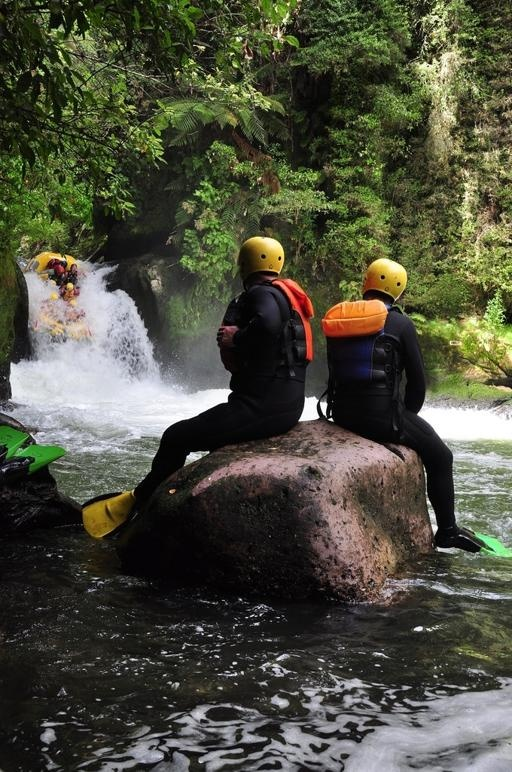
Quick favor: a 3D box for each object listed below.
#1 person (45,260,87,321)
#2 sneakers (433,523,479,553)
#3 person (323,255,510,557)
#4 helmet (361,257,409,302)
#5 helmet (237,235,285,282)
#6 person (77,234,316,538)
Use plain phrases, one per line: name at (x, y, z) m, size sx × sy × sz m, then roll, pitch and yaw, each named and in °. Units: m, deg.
person at (-4.119, -1.988, 16.240) m, size 0.553 × 1.243 × 0.759 m, roll -12°, pitch -7°, yaw 41°
sneakers at (1.190, 0.909, 4.469) m, size 0.264 × 0.100 × 0.137 m, roll -5°, pitch -5°, yaw 19°
person at (0.858, 0.122, 4.502) m, size 0.984 × 1.768 × 0.454 m, roll 3°, pitch 5°, yaw 3°
helmet at (0.787, -0.670, 4.736) m, size 0.236 × 0.250 × 0.293 m, roll 18°, pitch 16°, yaw 8°
helmet at (0.052, -0.743, 4.399) m, size 0.239 × 0.255 × 0.266 m, roll 1°, pitch 20°, yaw -22°
person at (-0.268, 0.129, 4.239) m, size 1.090 × 1.488 × 0.405 m, roll 3°, pitch 5°, yaw 4°
